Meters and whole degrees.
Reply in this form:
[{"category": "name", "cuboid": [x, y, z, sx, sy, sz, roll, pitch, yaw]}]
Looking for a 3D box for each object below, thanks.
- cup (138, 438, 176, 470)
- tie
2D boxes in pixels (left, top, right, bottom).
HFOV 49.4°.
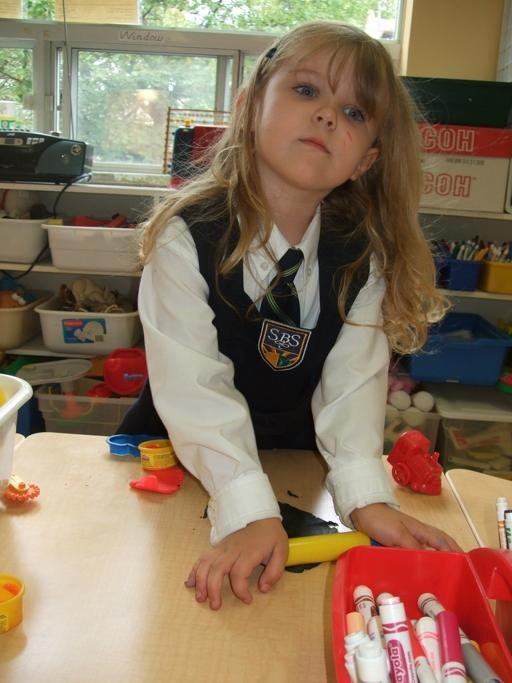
[{"category": "cup", "cuboid": [-0.135, 0.153, 0.762, 0.043, 0.025, 0.040, -3, 10, 0]}, {"category": "tie", "cuboid": [0.034, -0.080, 0.874, 0.050, 0.123, 0.034, 18, -10, -13]}]
